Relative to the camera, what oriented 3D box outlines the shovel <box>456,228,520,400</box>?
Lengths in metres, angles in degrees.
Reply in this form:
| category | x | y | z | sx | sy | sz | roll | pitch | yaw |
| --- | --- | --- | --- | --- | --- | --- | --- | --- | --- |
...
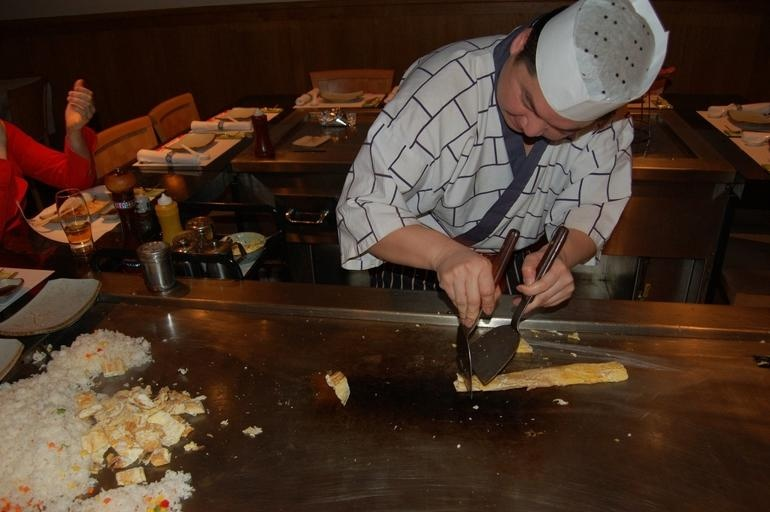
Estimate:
| category | x | y | z | sx | sy | sz | roll | pitch | yaw |
| --- | --- | --- | --- | --- | --- | --- | --- | --- | --- |
| shovel | 0.279 | 0.162 | 1.517 | 0.092 | 0.529 | 0.129 | 5 | -14 | 35 |

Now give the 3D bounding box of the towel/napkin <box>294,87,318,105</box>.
| category | x | y | z | sx | sy | sz | roll | pitch | yaw |
| --- | --- | --- | --- | --- | --- | --- | --- | --- | --- |
| towel/napkin | -0.501 | -1.036 | 3.512 | 0.149 | 0.115 | 0.244 | 2 | 14 | 1 |
